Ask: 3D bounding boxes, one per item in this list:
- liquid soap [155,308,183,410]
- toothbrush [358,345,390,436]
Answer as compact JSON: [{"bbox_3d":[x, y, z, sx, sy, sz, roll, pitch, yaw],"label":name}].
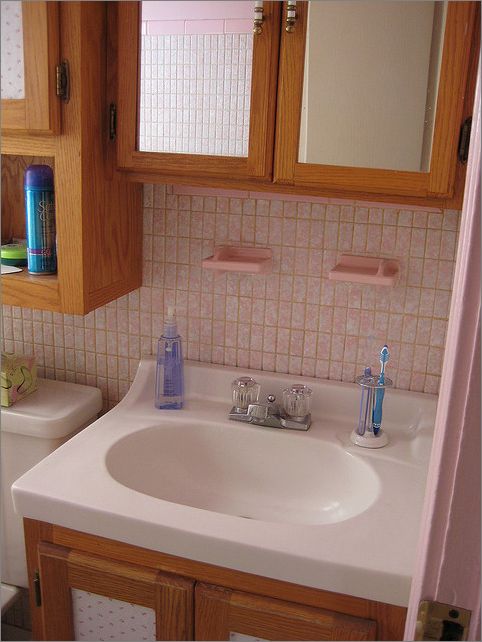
[{"bbox_3d":[-0.159,0.076,1.218,0.067,0.232,0.092,0,12,-7],"label":"liquid soap"},{"bbox_3d":[0.255,0.140,1.063,0.059,0.185,0.058,6,12,12],"label":"toothbrush"}]
